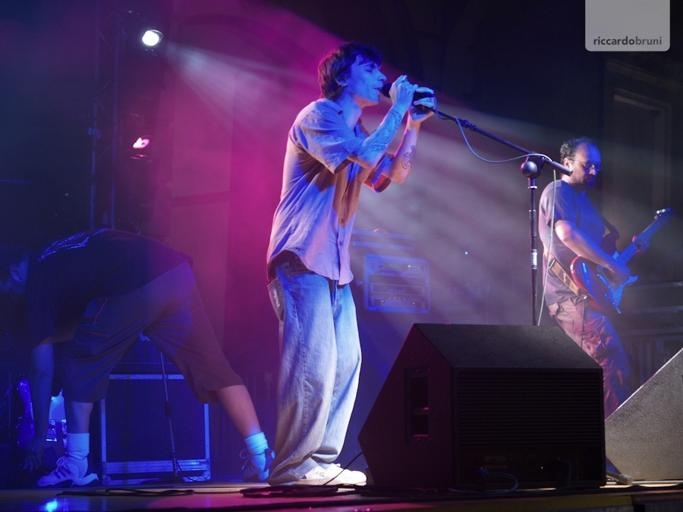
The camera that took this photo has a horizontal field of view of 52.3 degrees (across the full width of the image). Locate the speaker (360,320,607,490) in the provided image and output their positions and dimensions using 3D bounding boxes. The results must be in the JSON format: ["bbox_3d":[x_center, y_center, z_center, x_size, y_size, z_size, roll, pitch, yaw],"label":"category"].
[{"bbox_3d":[0.618,0.641,2.896,0.815,0.701,0.691,3,-6,-18],"label":"speaker"}]

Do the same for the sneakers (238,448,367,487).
[{"bbox_3d":[-0.111,1.015,3.289,0.425,0.182,0.165,-1,-5,-19],"label":"sneakers"}]

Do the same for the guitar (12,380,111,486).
[{"bbox_3d":[-1.443,1.001,3.658,0.295,0.410,0.135,-2,-4,4],"label":"guitar"}]

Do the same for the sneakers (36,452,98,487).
[{"bbox_3d":[-1.385,1.103,3.589,0.313,0.175,0.112,6,-16,-15],"label":"sneakers"}]

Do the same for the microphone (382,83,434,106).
[{"bbox_3d":[0.325,-0.814,3.536,0.204,0.095,0.126,16,19,21],"label":"microphone"}]
